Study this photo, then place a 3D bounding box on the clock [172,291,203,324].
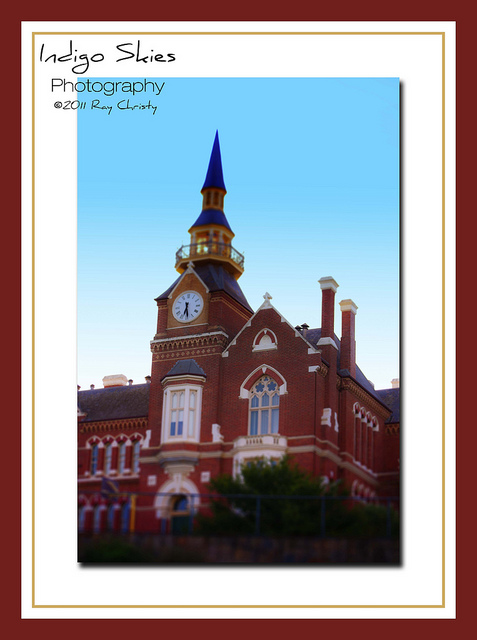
[{"bbox_3d":[-1.584,-0.370,33.981,1.006,1.007,0.534,-4,-5,28],"label":"clock"}]
